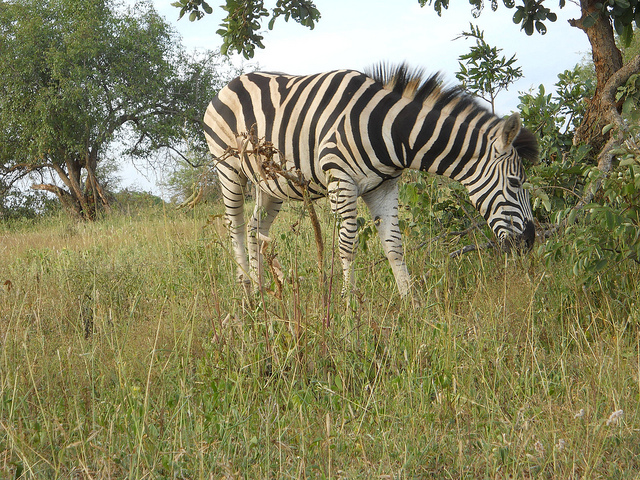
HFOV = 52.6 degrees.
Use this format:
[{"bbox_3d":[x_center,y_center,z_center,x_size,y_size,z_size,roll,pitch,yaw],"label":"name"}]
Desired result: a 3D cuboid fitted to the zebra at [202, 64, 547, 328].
[{"bbox_3d":[0.361,-0.531,6.959,3.748,2.778,1.197,7,14,27],"label":"zebra"}]
